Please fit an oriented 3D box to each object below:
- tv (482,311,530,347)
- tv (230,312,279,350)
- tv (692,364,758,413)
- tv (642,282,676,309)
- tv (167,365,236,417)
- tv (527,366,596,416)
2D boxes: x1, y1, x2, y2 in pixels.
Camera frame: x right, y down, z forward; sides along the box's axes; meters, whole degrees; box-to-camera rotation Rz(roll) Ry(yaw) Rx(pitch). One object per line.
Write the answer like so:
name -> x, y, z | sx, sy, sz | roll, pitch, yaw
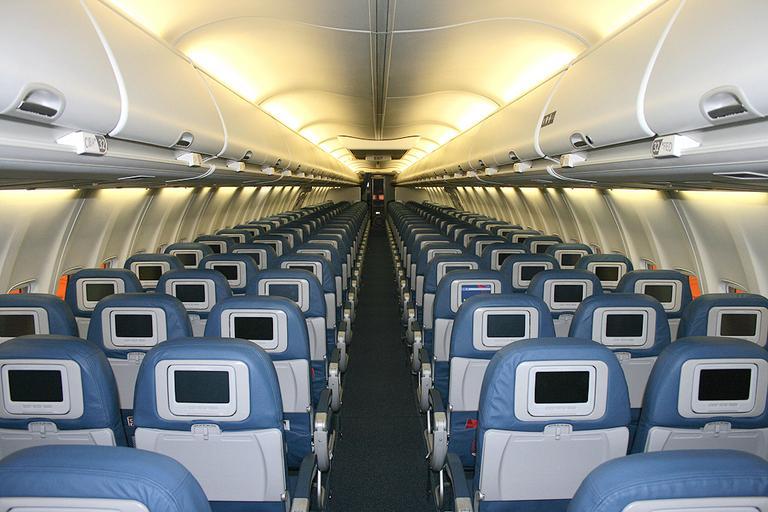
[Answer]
tv -> 0.986, 0.566, 4.464 | 0.504, 0.269, 0.095 | 2, 6, 8
tv -> -1.027, 0.557, 4.313 | 0.527, 0.267, 0.094 | -2, 8, -10
tv -> 2.178, 0.834, 3.583 | 0.432, 0.322, 0.039 | -1, 9, -3
tv -> 2.895, 0.391, 5.873 | 0.470, 0.236, 0.087 | -2, 13, -5
tv -> -1.149, 0.847, 3.500 | 0.400, 0.256, 0.268 | 2, -34, -1
tv -> 1.121, 0.852, 3.531 | 0.411, 0.251, 0.257 | -3, -34, 6
